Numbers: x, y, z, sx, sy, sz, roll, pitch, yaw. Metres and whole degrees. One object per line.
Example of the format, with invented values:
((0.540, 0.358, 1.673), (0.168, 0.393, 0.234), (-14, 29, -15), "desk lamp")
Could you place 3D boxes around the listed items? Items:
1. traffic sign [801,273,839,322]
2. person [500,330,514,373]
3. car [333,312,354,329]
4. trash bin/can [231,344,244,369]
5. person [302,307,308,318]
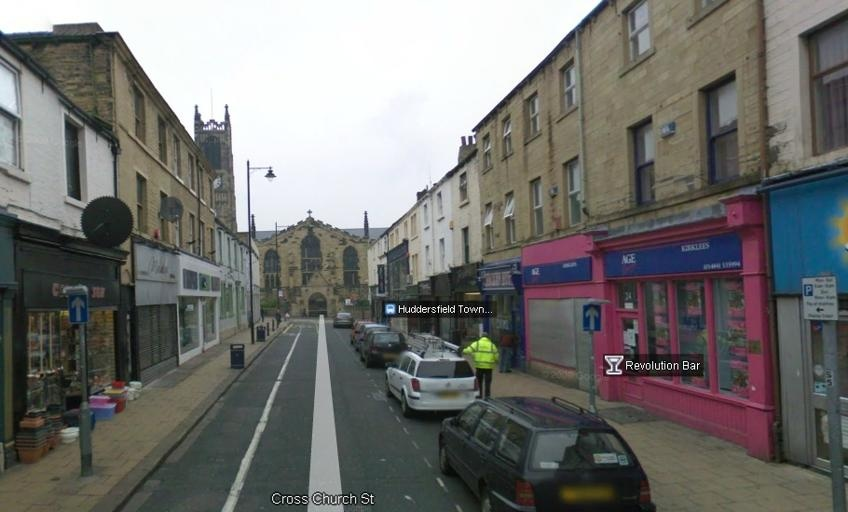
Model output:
((8.858, 0.949, 16.738), (0.727, 1.032, 0.302), (-9, -10, 33), "traffic sign")
((3.267, 3.730, 29.468), (0.568, 1.705, 1.466), (-5, -8, 6), "person")
((-6.297, 5.005, 58.320), (1.367, 1.213, 1.933), (-3, -9, -8), "car")
((-7.787, 4.197, 31.130), (0.503, 0.996, 0.664), (-2, -9, -15), "trash bin/can")
((-14.409, 6.731, 90.616), (0.496, 0.801, 1.109), (-3, -9, -8), "person")
